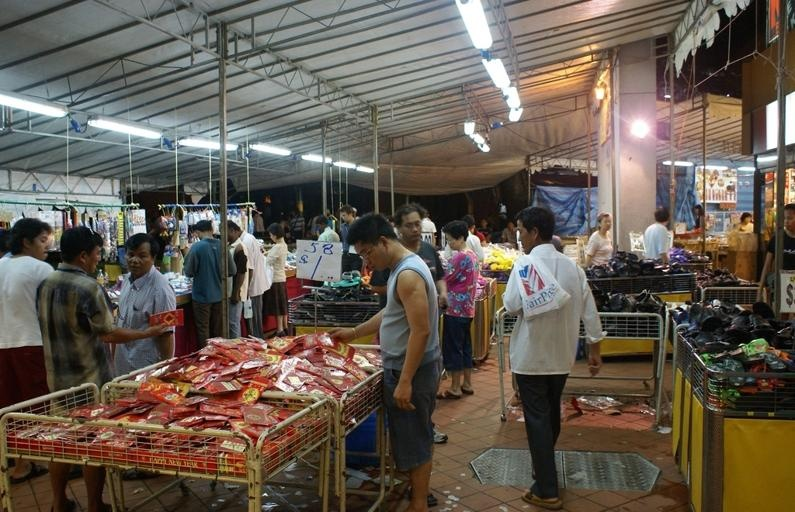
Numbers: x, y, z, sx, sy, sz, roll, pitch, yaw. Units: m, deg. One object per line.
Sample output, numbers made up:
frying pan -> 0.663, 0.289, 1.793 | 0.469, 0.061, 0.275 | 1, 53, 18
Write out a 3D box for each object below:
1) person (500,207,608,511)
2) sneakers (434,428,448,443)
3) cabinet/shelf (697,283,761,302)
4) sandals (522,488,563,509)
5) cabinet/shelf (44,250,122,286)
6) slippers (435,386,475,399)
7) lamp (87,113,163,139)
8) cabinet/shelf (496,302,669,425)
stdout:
person -> 1.449, 0.958, 6.038 | 0.774, 2.811, 0.890 | 11, 19, 44
sneakers -> 0.495, 2.075, 7.073 | 0.137, 0.133, 0.308 | -2, -17, -2
cabinet/shelf -> 4.747, 0.530, 8.662 | 0.689, 0.208, 0.675 | 0, 1, 24
sandals -> 1.406, 2.382, 5.915 | 0.326, 0.139, 0.154 | 4, 4, 43
cabinet/shelf -> -4.261, 0.134, 8.243 | 0.753, 0.711, 0.411 | -1, 10, -4
slippers -> 0.764, 1.809, 8.189 | 0.500, 0.130, 0.193 | 1, -5, -5
lamp -> -6.556, -3.031, 14.745 | 1.554, 0.681, 5.510 | -7, 15, -21
cabinet/shelf -> 2.589, 1.302, 8.182 | 2.343, 1.669, 1.584 | 0, 4, 12
